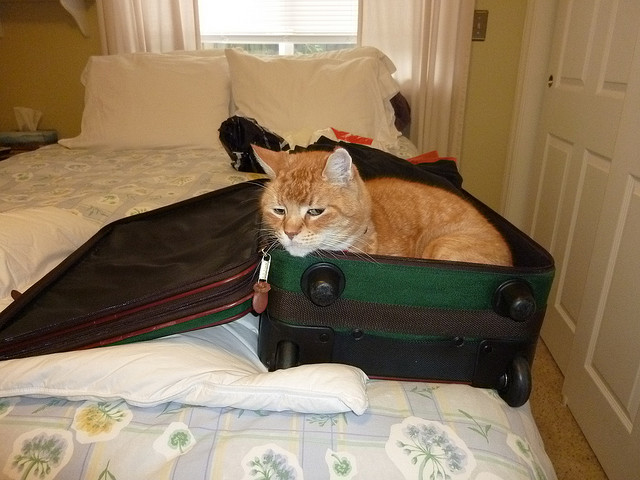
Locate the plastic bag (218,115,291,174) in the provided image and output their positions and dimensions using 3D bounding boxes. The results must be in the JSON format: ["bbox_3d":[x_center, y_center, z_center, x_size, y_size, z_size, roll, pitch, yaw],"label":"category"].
[{"bbox_3d":[-0.322,-0.421,2.054,0.343,0.287,0.144,8,-5,-1],"label":"plastic bag"}]

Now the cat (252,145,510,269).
[{"bbox_3d":[0.204,-0.115,1.487,0.783,0.327,0.605,-8,7,-37],"label":"cat"}]

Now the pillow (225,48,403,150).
[{"bbox_3d":[-0.047,-0.777,2.577,0.805,0.667,0.235,1,-1,7],"label":"pillow"}]

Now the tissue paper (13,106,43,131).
[{"bbox_3d":[-2.081,-0.850,3.234,0.184,0.171,0.071,-9,9,5],"label":"tissue paper"}]

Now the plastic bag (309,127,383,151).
[{"bbox_3d":[0.105,-0.483,2.129,0.261,0.074,0.187,14,19,-11],"label":"plastic bag"}]

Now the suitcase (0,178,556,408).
[{"bbox_3d":[-0.083,0.119,1.130,0.977,0.249,0.741,1,29,-3],"label":"suitcase"}]
